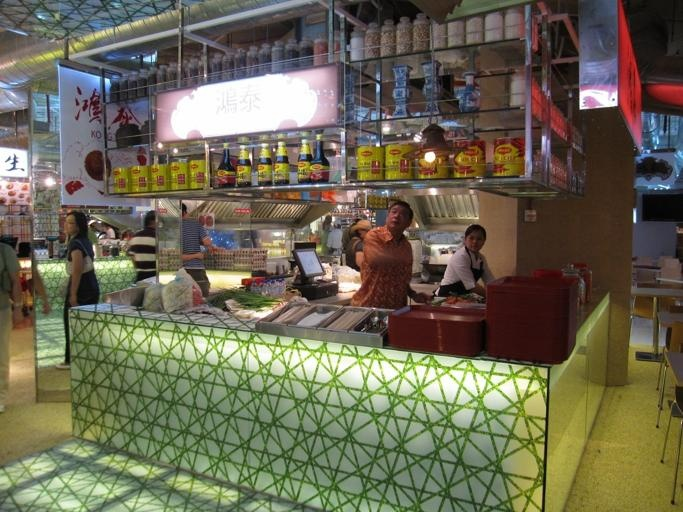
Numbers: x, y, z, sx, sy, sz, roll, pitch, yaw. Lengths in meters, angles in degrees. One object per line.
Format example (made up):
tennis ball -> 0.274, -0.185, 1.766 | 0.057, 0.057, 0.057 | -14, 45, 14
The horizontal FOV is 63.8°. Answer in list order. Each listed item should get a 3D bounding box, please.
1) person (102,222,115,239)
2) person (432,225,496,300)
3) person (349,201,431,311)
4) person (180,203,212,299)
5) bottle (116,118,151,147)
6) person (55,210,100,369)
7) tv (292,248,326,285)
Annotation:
person -> -5.478, -0.597, 12.882 | 0.233, 0.336, 1.039 | -1, 7, -25
person -> 1.229, 0.056, 5.340 | 0.562, 0.720, 0.518 | 3, 7, 6
person -> 0.493, 0.181, 5.024 | 0.605, 1.262, 0.552 | -5, 12, -32
person -> -1.588, -0.108, 6.016 | 0.305, 0.908, 1.142 | 1, 7, -14
bottle -> -2.169, -1.252, 5.648 | 0.366, 0.273, 0.276 | 7, 5, 11
person -> -3.107, 0.420, 6.499 | 0.432, 1.909, 0.600 | -1, 8, -26
tv -> -0.363, 0.126, 5.837 | 0.215, 0.348, 0.383 | -14, -5, 29
